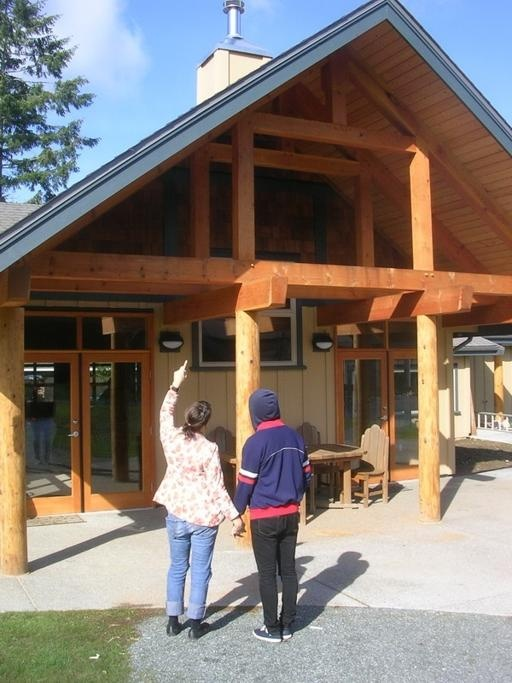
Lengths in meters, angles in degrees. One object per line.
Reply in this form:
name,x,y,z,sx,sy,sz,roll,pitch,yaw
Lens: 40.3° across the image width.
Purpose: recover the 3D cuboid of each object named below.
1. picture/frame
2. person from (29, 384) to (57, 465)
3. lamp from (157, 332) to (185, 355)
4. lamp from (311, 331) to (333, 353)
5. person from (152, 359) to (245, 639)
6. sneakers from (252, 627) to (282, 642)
picture/frame,-0.144,-0.364,8.046,1.788,1.553,0.138,2,-8,-29
person,-2.643,1.047,8.608,0.303,0.969,0.086,2,-7,-25
lamp,-1.097,-0.005,9.189,0.365,0.299,0.263,1,-6,-19
lamp,1.012,0.004,10.313,0.299,0.303,0.279,3,-2,-25
person,-0.365,0.978,4.564,0.598,1.652,0.324,-2,-6,16
sneakers,0.077,1.921,4.599,0.185,0.081,0.074,3,-1,42
